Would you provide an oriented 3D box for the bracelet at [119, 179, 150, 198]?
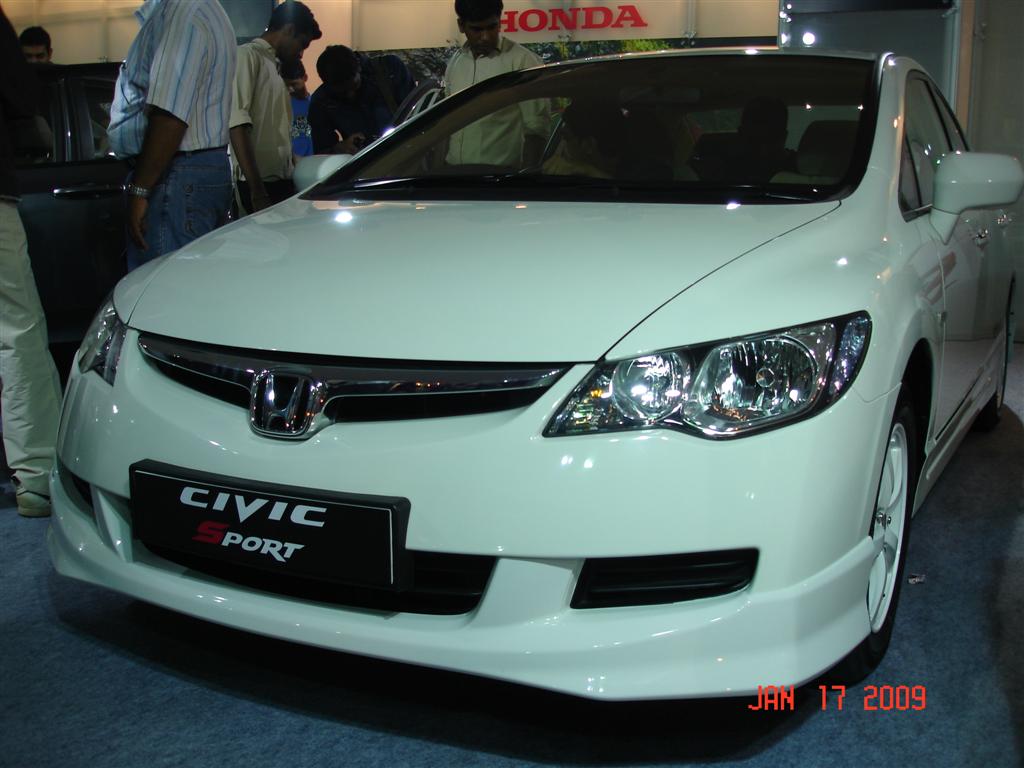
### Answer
[{"bbox_3d":[-1.509,-0.778,3.025,0.086,0.039,0.088,22,-3,29],"label":"bracelet"}]
